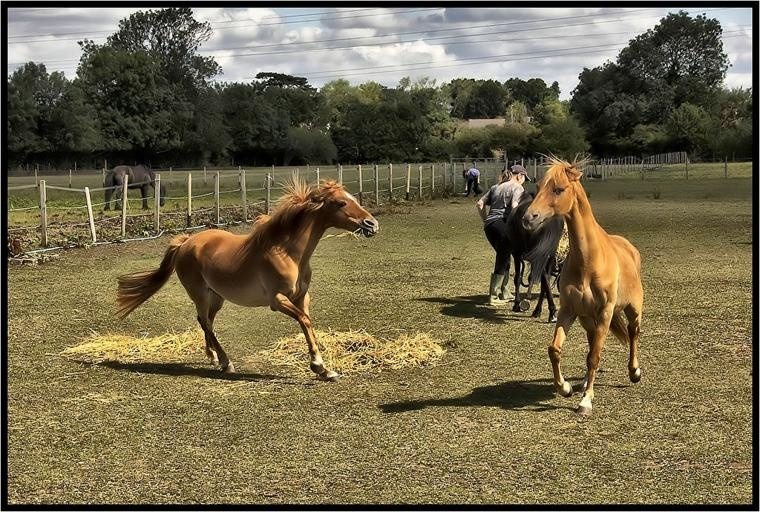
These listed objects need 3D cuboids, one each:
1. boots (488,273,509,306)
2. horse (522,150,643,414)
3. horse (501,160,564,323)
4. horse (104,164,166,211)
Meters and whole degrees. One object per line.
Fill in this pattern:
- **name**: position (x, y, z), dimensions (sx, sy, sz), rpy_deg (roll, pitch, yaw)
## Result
- **boots**: position (2.083, 0.563, 12.927), dimensions (0.520, 0.512, 0.415), rpy_deg (-3, 9, -10)
- **horse**: position (2.432, 0.276, 8.723), dimensions (0.953, 2.788, 1.506), rpy_deg (13, 20, 42)
- **horse**: position (2.486, -0.328, 12.710), dimensions (0.672, 2.069, 2.584), rpy_deg (-5, 13, 15)
- **horse**: position (-9.932, -2.818, 29.984), dimensions (0.804, 1.830, 3.346), rpy_deg (4, 6, 22)
